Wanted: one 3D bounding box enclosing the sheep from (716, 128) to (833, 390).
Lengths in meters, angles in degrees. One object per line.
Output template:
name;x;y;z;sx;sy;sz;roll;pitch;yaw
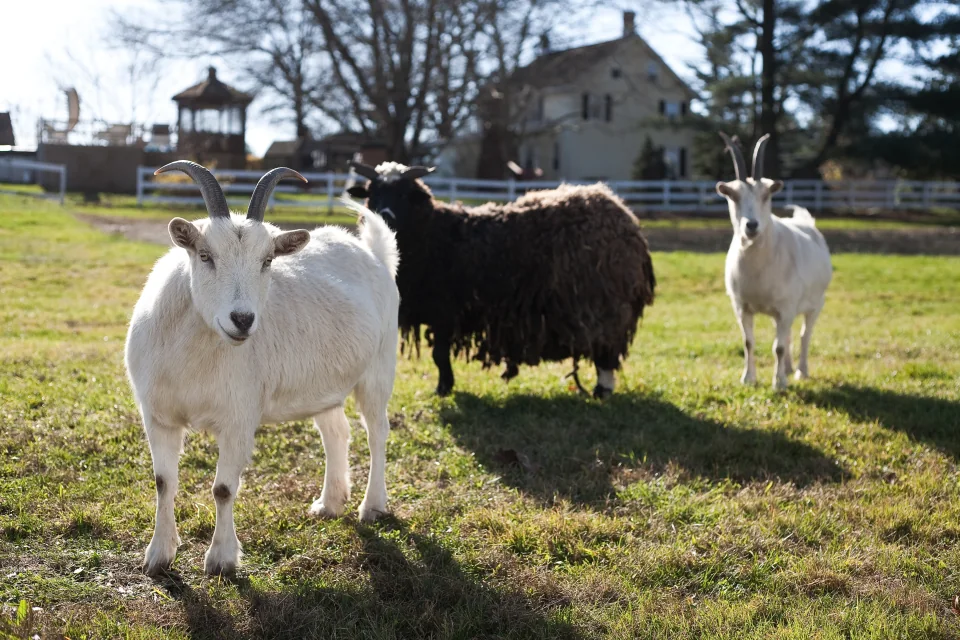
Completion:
sheep;4.819;-1.044;21.916;1.556;3.996;2.404;5;7;26
